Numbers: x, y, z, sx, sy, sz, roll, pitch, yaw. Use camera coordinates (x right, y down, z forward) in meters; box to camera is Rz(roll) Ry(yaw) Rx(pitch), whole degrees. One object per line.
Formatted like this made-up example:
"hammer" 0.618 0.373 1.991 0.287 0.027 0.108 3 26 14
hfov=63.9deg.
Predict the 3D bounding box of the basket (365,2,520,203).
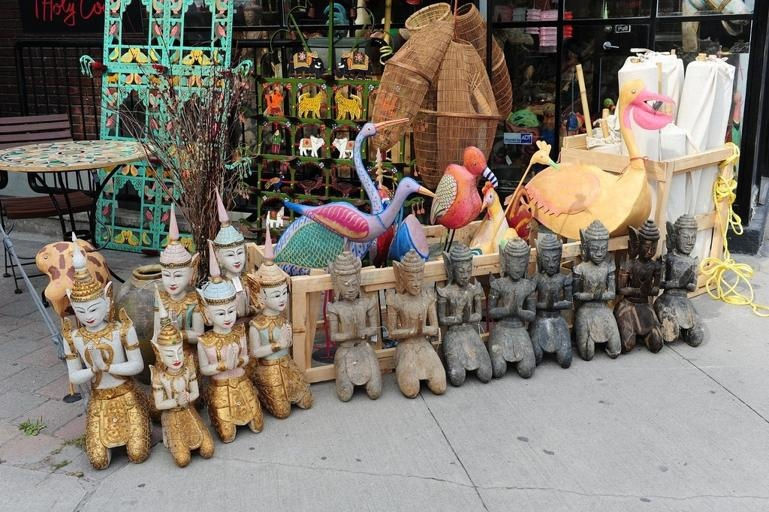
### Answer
"basket" 0.512 -1.421 5.558 1.183 1.658 0.970 -1 16 4
